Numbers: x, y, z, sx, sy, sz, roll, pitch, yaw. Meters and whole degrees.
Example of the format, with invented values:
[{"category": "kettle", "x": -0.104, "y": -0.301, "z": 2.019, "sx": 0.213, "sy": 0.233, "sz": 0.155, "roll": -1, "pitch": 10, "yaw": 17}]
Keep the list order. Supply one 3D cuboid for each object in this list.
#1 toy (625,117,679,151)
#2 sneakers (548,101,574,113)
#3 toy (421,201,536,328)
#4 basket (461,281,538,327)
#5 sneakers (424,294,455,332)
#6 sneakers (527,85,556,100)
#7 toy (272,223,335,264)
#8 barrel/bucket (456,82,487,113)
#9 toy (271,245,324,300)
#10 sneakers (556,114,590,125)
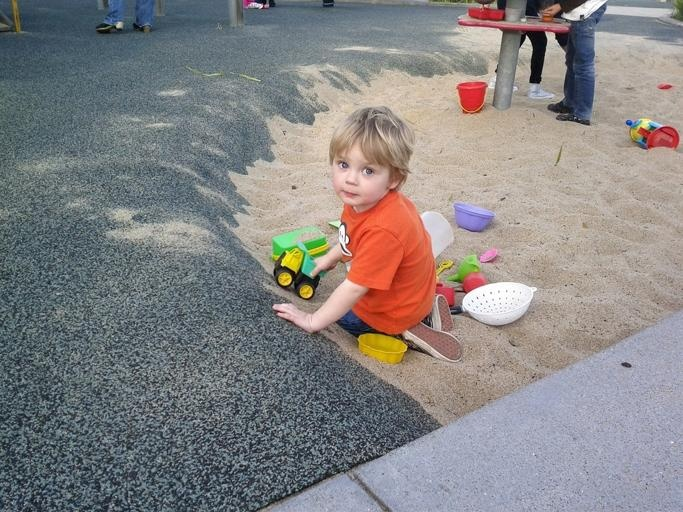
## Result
[{"category": "toy", "x": 2.790, "y": -1.116, "z": 4.743, "sx": 0.263, "sy": 0.219, "sz": 0.436, "roll": 25, "pitch": 17, "yaw": -11}, {"category": "sneakers", "x": 2.249, "y": -1.530, "z": 5.329, "sx": 0.105, "sy": 0.098, "sz": 0.233, "roll": -16, "pitch": 32, "yaw": -20}, {"category": "toy", "x": 0.768, "y": 0.007, "z": 2.822, "sx": 0.395, "sy": 0.426, "sz": 0.855, "roll": -22, "pitch": 33, "yaw": -19}, {"category": "basket", "x": 0.854, "y": 0.247, "z": 2.697, "sx": 0.420, "sy": 0.169, "sz": 0.244, "roll": -4, "pitch": 30, "yaw": -10}, {"category": "sneakers", "x": 0.492, "y": 0.297, "z": 2.559, "sx": 0.096, "sy": 0.228, "sz": 0.090, "roll": -11, "pitch": -10, "yaw": -34}, {"category": "sneakers", "x": 2.254, "y": -1.881, "z": 5.924, "sx": 0.307, "sy": 0.181, "sz": 0.139, "roll": -8, "pitch": 37, "yaw": -3}, {"category": "toy", "x": -0.244, "y": -0.086, "z": 2.894, "sx": 0.345, "sy": 0.161, "sz": 0.181, "roll": -19, "pitch": 35, "yaw": -26}, {"category": "barrel/bucket", "x": 1.336, "y": -1.600, "z": 5.351, "sx": 0.337, "sy": 0.252, "sz": 0.340, "roll": -3, "pitch": 32, "yaw": 2}, {"category": "toy", "x": -0.233, "y": 0.084, "z": 2.647, "sx": 0.254, "sy": 0.196, "sz": 0.262, "roll": 30, "pitch": 23, "yaw": -17}, {"category": "sneakers", "x": 2.259, "y": -1.324, "z": 5.042, "sx": 0.195, "sy": 0.075, "sz": 0.072, "roll": 21, "pitch": 37, "yaw": 24}]
